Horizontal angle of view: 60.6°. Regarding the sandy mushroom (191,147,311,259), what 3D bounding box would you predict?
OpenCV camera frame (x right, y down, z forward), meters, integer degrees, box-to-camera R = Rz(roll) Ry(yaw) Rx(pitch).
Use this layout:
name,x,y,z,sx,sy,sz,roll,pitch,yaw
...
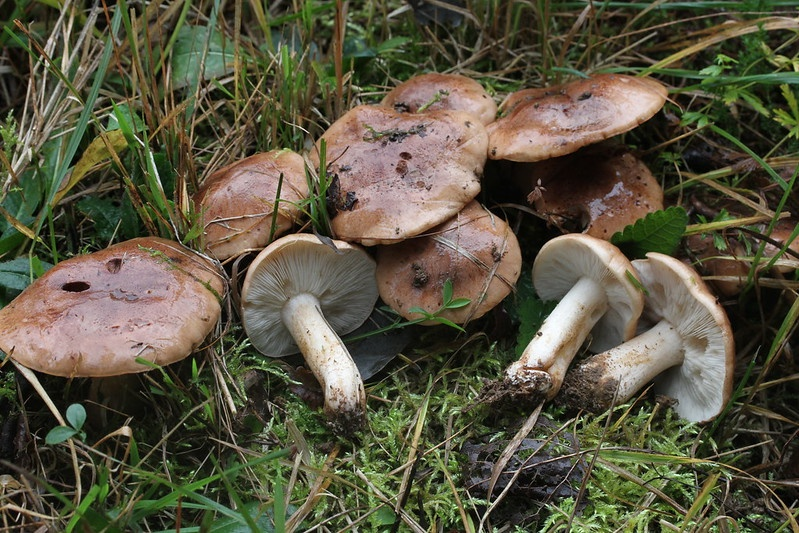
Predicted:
name,x,y,z,sx,sy,sz,roll,pitch,yaw
sandy mushroom,-0.915,-0.407,4.306,0.743,0.230,0.627,-15,69,-11
